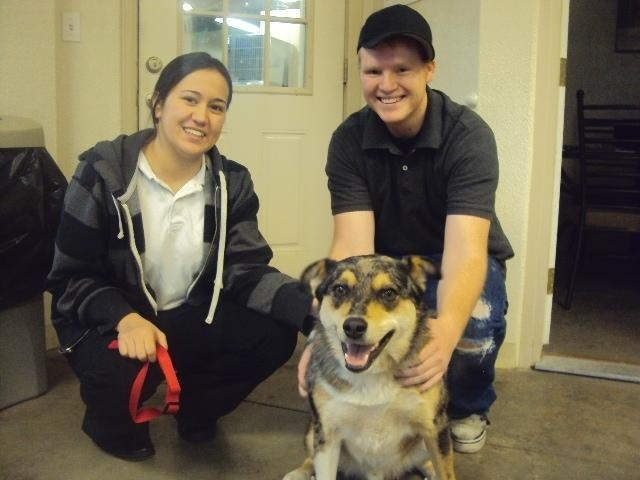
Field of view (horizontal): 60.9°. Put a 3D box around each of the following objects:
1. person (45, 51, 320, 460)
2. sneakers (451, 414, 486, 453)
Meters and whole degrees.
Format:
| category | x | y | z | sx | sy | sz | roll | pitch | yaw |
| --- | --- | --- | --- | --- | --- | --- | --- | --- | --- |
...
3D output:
| category | x | y | z | sx | sy | sz | roll | pitch | yaw |
| --- | --- | --- | --- | --- | --- | --- | --- | --- | --- |
| person | -0.661 | 0.072 | 2.475 | 1.079 | 1.788 | 0.617 | -5 | 14 | -25 |
| sneakers | 0.708 | 0.920 | 2.599 | 0.095 | 0.102 | 0.232 | -1 | -4 | 10 |
